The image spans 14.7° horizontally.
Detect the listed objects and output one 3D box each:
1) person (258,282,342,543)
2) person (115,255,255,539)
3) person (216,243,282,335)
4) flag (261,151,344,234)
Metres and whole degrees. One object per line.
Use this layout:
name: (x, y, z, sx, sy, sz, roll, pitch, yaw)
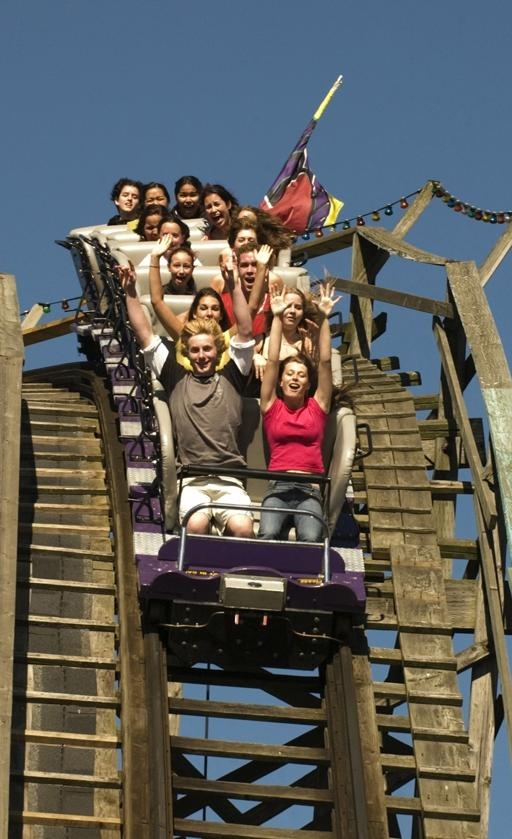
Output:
person: (0.259, -0.056, 11.891, 0.554, 1.713, 0.899, -5, -13, 1)
person: (-0.366, -0.147, 11.985, 0.769, 1.916, 1.065, -5, -13, 0)
person: (-0.028, -0.784, 13.075, 0.344, 0.891, 0.314, 20, 38, 29)
flag: (0.452, -2.202, 18.994, 0.751, 0.852, 0.286, -10, -14, 24)
